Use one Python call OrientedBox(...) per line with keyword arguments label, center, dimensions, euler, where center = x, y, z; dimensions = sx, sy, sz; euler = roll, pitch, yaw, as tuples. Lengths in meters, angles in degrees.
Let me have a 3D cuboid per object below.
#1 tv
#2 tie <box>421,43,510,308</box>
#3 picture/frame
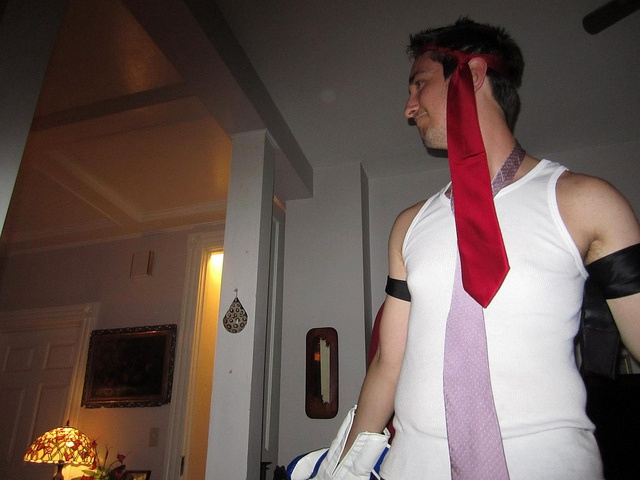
OrientedBox(label="tv", center=(-1.696, 1.125, 4.002), dimensions=(0.968, 0.691, 0.052), euler=(-9, -23, 19))
OrientedBox(label="tie", center=(0.299, -0.154, 0.926), dimensions=(0.148, 0.575, 0.049), euler=(-19, -25, 38))
OrientedBox(label="picture/frame", center=(-1.696, 1.125, 4.002), dimensions=(0.968, 0.691, 0.052), euler=(-9, -23, 19))
